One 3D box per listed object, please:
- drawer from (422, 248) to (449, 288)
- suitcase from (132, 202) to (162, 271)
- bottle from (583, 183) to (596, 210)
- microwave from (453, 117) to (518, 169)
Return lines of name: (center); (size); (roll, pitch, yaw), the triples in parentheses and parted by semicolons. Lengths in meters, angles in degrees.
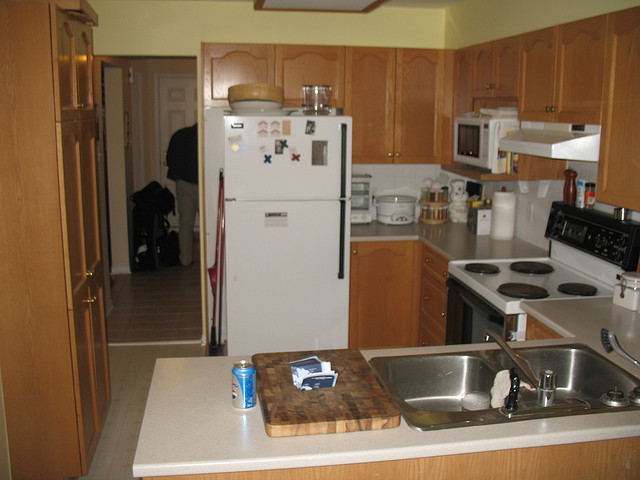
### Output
drawer: (0.880, 0.206, 4.218); (0.190, 0.150, 0.310); (1, 14, -10)
suitcase: (-2.223, -0.042, 7.052); (0.445, 0.883, 0.271); (-8, 14, -30)
bottle: (1.680, -0.273, 3.418); (0.066, 0.156, 0.066); (-1, 12, 0)
microwave: (1.211, -0.742, 4.147); (0.364, 0.481, 0.683); (-2, 13, -10)
